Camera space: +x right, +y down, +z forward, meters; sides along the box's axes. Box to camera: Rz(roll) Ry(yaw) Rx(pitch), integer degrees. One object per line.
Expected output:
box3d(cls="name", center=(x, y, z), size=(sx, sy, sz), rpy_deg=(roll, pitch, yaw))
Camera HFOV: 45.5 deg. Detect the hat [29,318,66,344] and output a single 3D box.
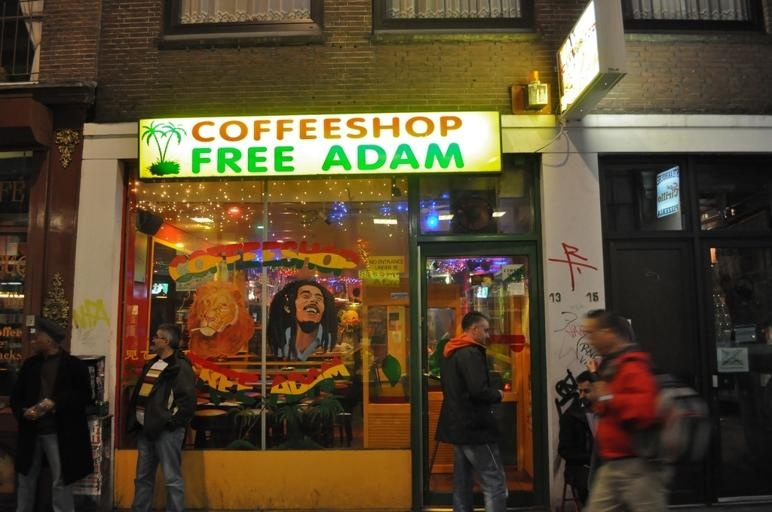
box3d(cls="hat", center=(-4.493, 0.989, 12.170), size=(0.359, 0.144, 0.317), rpy_deg=(29, 4, -28))
